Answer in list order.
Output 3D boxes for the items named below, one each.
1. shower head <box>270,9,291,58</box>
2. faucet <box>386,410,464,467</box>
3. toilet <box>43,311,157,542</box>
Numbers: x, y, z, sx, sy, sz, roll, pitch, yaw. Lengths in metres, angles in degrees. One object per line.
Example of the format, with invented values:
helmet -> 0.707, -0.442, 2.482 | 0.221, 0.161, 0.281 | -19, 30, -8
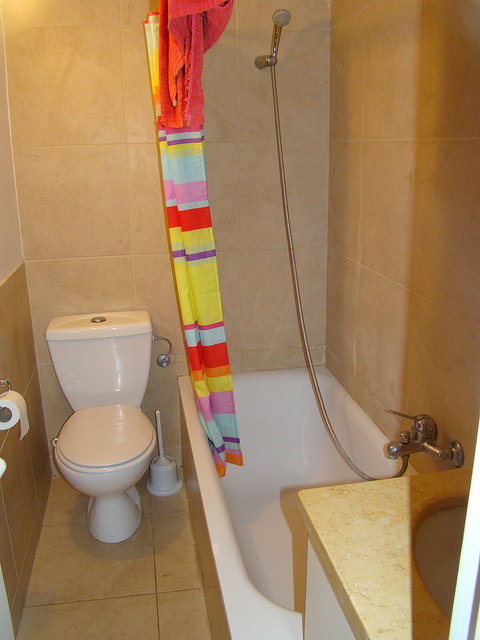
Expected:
shower head -> 0.127, -0.951, 1.707 | 0.053, 0.198, 0.028 | -5, 30, -18
faucet -> 0.465, 0.297, 1.355 | 0.137, 0.167, 0.219 | -2, 5, -2
toilet -> -0.526, 0.429, 2.064 | 0.316, 0.749, 0.605 | -5, 19, -17
